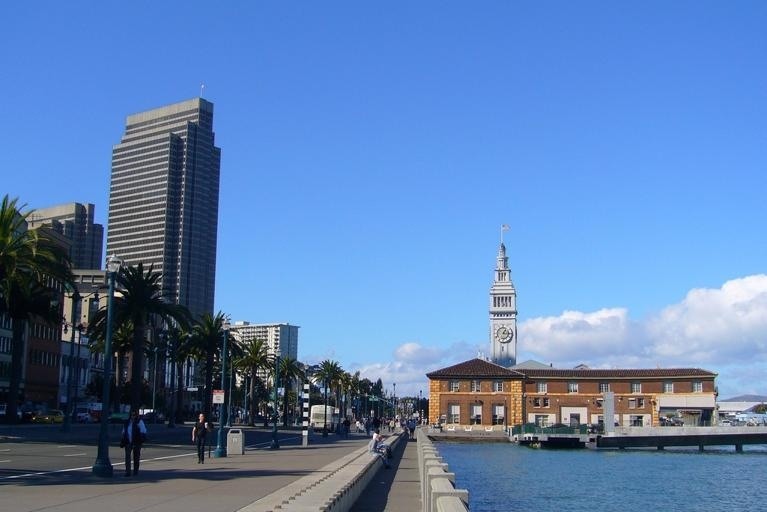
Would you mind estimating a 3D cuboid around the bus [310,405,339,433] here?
[{"bbox_3d":[-8.090,21.057,114.261,2.424,2.568,5.769,0,-7,6],"label":"bus"}]

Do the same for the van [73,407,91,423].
[{"bbox_3d":[-35.414,18.801,103.762,1.172,1.609,2.465,0,-4,23],"label":"van"}]
